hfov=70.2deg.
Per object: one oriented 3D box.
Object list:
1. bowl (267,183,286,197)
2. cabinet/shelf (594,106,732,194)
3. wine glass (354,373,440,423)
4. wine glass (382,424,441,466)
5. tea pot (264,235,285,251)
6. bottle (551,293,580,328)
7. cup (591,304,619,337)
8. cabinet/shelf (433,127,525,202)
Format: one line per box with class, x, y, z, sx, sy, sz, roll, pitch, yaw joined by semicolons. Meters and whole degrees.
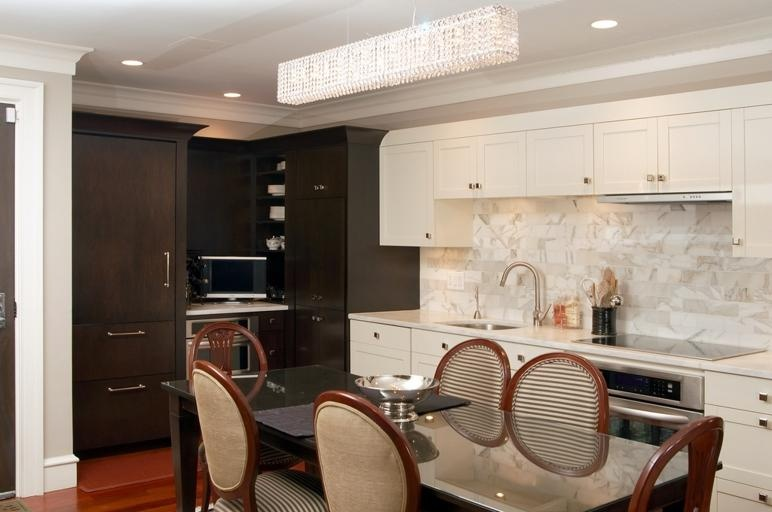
bowl;-1.191;-0.728;6.016;0.142;0.144;0.528;-3;3;-25
cabinet/shelf;1.942;-0.719;3.795;0.933;0.521;0.537;0;-2;42
wine glass;0.040;0.708;2.780;0.283;0.114;0.269;2;-6;-20
wine glass;0.136;0.835;2.450;0.244;0.119;0.230;0;2;3
tea pot;-1.244;-0.143;6.127;0.197;0.117;0.192;0;1;0
bottle;1.512;0.463;4.599;0.215;0.271;0.214;-2;3;0
cup;1.678;0.506;4.244;0.235;0.205;0.200;-1;-1;23
cabinet/shelf;0.814;-0.810;4.736;0.754;0.415;0.266;1;0;44
